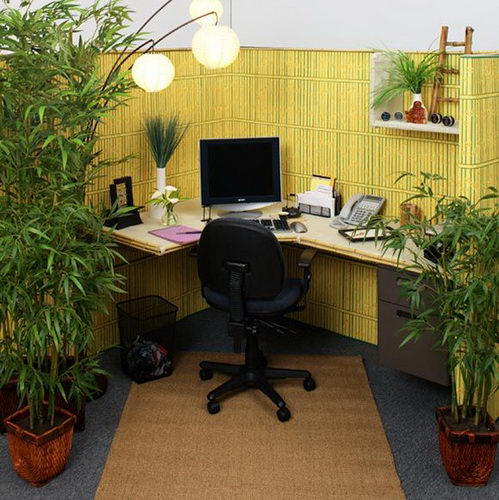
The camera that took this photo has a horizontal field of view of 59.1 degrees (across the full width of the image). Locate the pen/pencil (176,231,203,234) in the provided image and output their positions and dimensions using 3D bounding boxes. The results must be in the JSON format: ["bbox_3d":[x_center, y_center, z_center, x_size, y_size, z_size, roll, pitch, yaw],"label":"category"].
[{"bbox_3d":[-0.369,-0.105,2.641,0.180,0.018,0.018,-3,13,-8],"label":"pen/pencil"}]

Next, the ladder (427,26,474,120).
[{"bbox_3d":[1.158,-1.033,2.524,0.206,0.524,0.498,5,13,23],"label":"ladder"}]

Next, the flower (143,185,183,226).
[{"bbox_3d":[-0.556,-0.309,2.890,0.265,0.250,0.260,3,15,14],"label":"flower"}]

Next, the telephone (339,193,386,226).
[{"bbox_3d":[0.742,-0.264,2.886,0.233,0.099,0.315,17,46,42],"label":"telephone"}]

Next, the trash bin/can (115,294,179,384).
[{"bbox_3d":[-0.668,0.588,2.836,0.421,0.499,0.411,-8,16,-40],"label":"trash bin/can"}]

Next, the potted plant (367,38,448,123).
[{"bbox_3d":[0.985,-0.936,2.581,0.266,0.317,0.249,-4,13,14],"label":"potted plant"}]

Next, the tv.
[{"bbox_3d":[-0.069,-0.516,3.041,0.650,0.580,0.081,-2,3,-10],"label":"tv"}]
